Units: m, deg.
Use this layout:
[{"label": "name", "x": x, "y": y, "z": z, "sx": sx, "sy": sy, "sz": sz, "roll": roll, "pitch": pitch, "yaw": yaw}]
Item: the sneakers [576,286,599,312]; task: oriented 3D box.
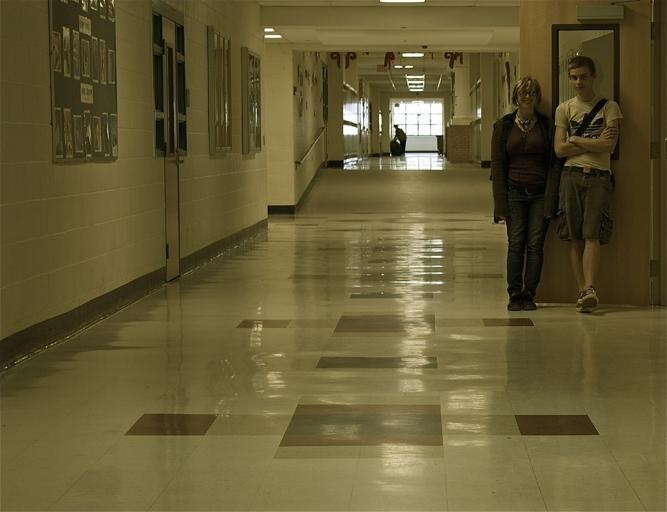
[{"label": "sneakers", "x": 2.030, "y": 0.374, "z": 4.487, "sx": 0.104, "sy": 0.134, "sz": 0.250, "roll": 1, "pitch": -16, "yaw": 5}]

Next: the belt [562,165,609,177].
[{"label": "belt", "x": 2.041, "y": -0.708, "z": 4.490, "sx": 0.341, "sy": 0.079, "sz": 0.081, "roll": 3, "pitch": 13, "yaw": 11}]

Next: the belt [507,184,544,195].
[{"label": "belt", "x": 1.614, "y": -0.578, "z": 4.644, "sx": 0.281, "sy": 0.110, "sz": 0.070, "roll": 6, "pitch": 13, "yaw": 23}]

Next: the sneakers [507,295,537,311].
[{"label": "sneakers", "x": 1.606, "y": 0.412, "z": 4.708, "sx": 0.204, "sy": 0.118, "sz": 0.086, "roll": -7, "pitch": -24, "yaw": 9}]

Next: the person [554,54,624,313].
[{"label": "person", "x": 2.003, "y": -0.588, "z": 4.514, "sx": 0.481, "sy": 2.070, "sz": 0.506, "roll": 6, "pitch": 13, "yaw": 31}]
